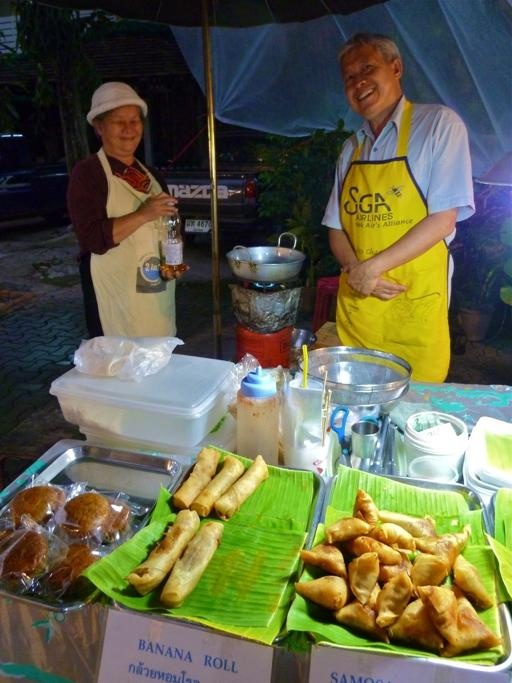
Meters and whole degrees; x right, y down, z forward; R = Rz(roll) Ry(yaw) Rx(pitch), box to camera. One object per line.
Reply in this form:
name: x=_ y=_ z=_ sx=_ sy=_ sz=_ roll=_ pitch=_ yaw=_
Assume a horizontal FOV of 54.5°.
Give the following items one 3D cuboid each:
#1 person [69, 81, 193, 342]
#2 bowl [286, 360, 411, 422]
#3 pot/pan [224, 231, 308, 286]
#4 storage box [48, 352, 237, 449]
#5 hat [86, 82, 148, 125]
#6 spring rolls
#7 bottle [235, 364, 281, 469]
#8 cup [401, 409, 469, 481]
person: x=-0.797 y=-0.620 z=3.234 sx=0.705 sy=1.815 sz=0.643 roll=-14 pitch=29 yaw=-34
bowl: x=0.328 y=0.132 z=1.568 sx=0.325 sy=0.137 sz=0.319 roll=3 pitch=15 yaw=-1
pot/pan: x=0.106 y=-0.604 z=3.609 sx=0.547 sy=0.250 sz=0.664 roll=14 pitch=29 yaw=32
storage box: x=-0.366 y=0.185 z=1.572 sx=0.428 sy=0.117 sz=0.292 roll=7 pitch=22 yaw=25
hat: x=-0.845 y=-1.384 z=2.931 sx=0.250 sy=0.240 sz=0.284 roll=11 pitch=23 yaw=26
spring rolls: x=-0.131 y=0.383 z=1.107 sx=0.172 sy=0.074 sz=0.474 roll=6 pitch=21 yaw=21
bottle: x=-0.019 y=0.213 z=1.426 sx=0.147 sy=0.261 sz=0.140 roll=2 pitch=8 yaw=0
cup: x=0.464 y=0.280 z=1.377 sx=0.185 sy=0.145 sz=0.169 roll=0 pitch=22 yaw=0
